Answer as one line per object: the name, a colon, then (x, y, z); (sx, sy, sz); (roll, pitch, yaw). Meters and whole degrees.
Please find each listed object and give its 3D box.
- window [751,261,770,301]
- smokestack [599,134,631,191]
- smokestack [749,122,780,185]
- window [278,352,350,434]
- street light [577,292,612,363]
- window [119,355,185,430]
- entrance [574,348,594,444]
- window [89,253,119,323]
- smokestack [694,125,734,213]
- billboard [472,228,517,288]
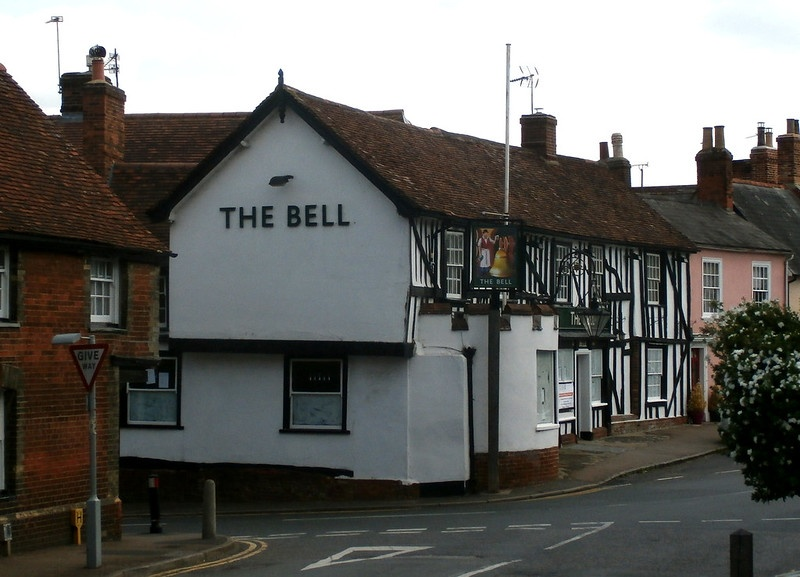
window: (13.014, -0.175, 56.771); (0.132, 1.504, 1.211); (-3, -6, 36)
smokestack: (7.791, -4.367, 57.608); (1.101, 2.508, 0.614); (-8, -11, 36)
smokestack: (15.957, -5.748, 68.197); (0.976, 2.831, 0.990); (-11, 2, -18)
window: (-2.308, 2.926, 42.552); (1.899, 2.444, 0.308); (-1, -10, 8)
street light: (6.282, 1.060, 49.334); (1.453, 2.501, 1.405); (-2, -1, 4)
window: (-6.932, 2.911, 43.693); (1.581, 2.090, 0.251); (2, 10, 2)
entrance: (5.801, 3.250, 49.200); (0.668, 2.905, 0.652); (0, 6, 24)
window: (-7.045, 0.026, 36.970); (0.085, 1.872, 1.508); (1, 0, 25)
smokestack: (11.765, -4.368, 58.894); (1.148, 3.385, 0.620); (3, 12, 27)
billboard: (2.579, -0.603, 42.650); (1.304, 1.981, 1.015); (2, -26, 2)
